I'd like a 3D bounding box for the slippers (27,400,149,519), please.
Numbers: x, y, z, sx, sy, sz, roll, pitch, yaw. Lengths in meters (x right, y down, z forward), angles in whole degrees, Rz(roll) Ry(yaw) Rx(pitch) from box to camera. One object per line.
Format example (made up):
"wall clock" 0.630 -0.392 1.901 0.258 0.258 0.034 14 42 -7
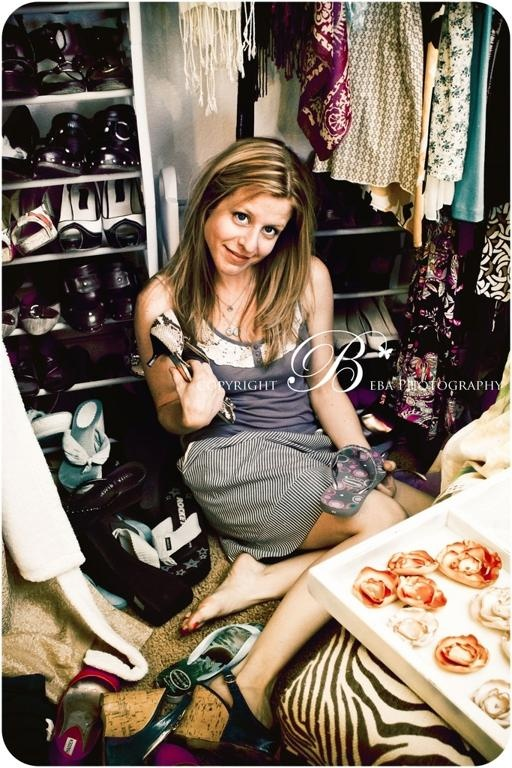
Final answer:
"slippers" -0.367 0.159 1.191 0.142 0.370 0.089 -16 -9 7

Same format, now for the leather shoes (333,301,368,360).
"leather shoes" 0.194 -0.121 1.141 0.048 0.057 0.144 -5 63 4

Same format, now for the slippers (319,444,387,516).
"slippers" 0.197 0.197 1.113 0.075 0.051 0.195 15 41 20

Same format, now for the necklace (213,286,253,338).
"necklace" -0.044 -0.139 1.047 0.054 0.095 0.019 3 10 -6

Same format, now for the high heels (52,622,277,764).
"high heels" -0.159 0.587 0.960 0.402 0.106 0.210 -9 26 -14

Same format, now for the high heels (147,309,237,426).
"high heels" -0.105 -0.006 1.140 0.091 0.278 0.098 -35 7 23

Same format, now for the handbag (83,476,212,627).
"handbag" -0.234 0.372 1.170 0.221 0.113 0.318 -28 64 -25

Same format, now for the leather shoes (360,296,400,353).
"leather shoes" 0.265 -0.133 1.174 0.050 0.145 0.027 -19 0 -14
